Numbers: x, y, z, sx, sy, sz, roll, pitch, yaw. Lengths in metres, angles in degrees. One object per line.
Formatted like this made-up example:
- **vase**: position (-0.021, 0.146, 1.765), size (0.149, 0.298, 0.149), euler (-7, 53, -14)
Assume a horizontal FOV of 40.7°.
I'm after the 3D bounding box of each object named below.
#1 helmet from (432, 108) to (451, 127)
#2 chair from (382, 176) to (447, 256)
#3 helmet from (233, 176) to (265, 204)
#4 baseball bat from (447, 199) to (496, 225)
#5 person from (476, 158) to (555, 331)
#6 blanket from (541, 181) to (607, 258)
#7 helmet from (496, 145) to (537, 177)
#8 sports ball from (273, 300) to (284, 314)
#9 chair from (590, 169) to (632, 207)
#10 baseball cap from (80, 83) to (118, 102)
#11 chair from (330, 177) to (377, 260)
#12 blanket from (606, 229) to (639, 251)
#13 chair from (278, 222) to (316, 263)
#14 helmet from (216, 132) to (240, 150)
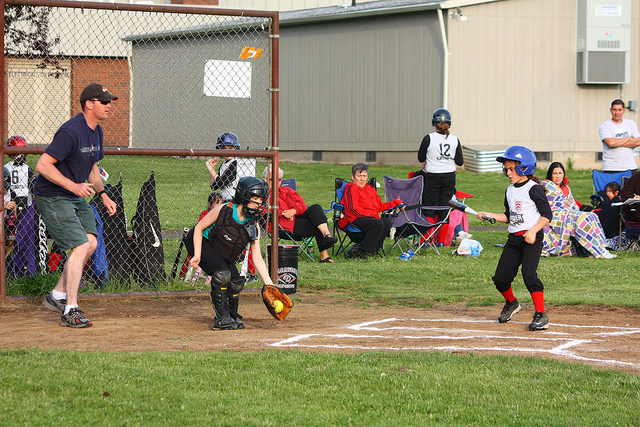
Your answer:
- **helmet**: position (2.259, -1.772, 15.906), size (0.279, 0.320, 0.352), euler (2, 12, -3)
- **chair**: position (1.605, -0.014, 15.648), size (0.944, 1.550, 1.277), euler (2, 0, -9)
- **helmet**: position (-0.827, -0.277, 10.593), size (0.327, 0.286, 0.284), euler (22, 0, 7)
- **baseball bat**: position (2.773, -0.013, 15.742), size (0.822, 0.136, 0.147), euler (27, -28, 2)
- **person**: position (2.552, 0.330, 11.036), size (0.757, 2.247, 0.893), euler (4, -7, -32)
- **blanket**: position (4.434, -0.097, 15.269), size (1.104, 1.776, 0.804), euler (-6, -10, 37)
- **helmet**: position (2.545, -0.666, 11.041), size (0.452, 0.348, 0.325), euler (4, -4, -8)
- **sports ball**: position (-0.503, 1.164, 10.804), size (0.132, 0.139, 0.161), euler (-23, -25, 20)
- **chair**: position (5.419, -0.464, 15.946), size (0.792, 0.642, 0.293), euler (5, -5, -12)
- **baseball cap**: position (-2.743, -1.485, 10.621), size (0.324, 0.165, 0.213), euler (3, 12, -6)
- **chair**: position (0.572, 0.185, 15.412), size (0.658, 1.628, 0.769), euler (3, 0, -14)
- **blanket**: position (5.484, 0.484, 15.567), size (0.576, 0.315, 0.268), euler (4, 11, 17)
- **chair**: position (-0.392, 0.488, 14.627), size (0.641, 0.924, 0.569), euler (-2, 3, -2)
- **helmet**: position (-1.330, -1.075, 12.801), size (0.300, 0.332, 0.146), euler (0, -4, 13)
